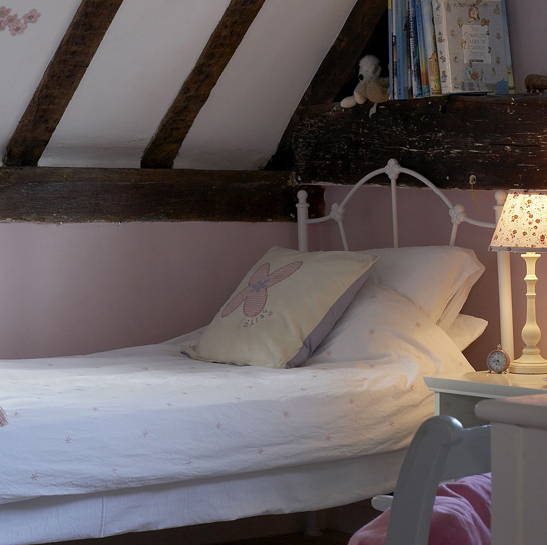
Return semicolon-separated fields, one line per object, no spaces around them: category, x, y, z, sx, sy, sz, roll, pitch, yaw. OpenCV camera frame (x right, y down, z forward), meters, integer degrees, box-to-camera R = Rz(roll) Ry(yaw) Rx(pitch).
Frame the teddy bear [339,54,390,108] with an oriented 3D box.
teddy bear;0.371;-0.707;2.830;0.112;0.217;0.288;-12;17;-35
